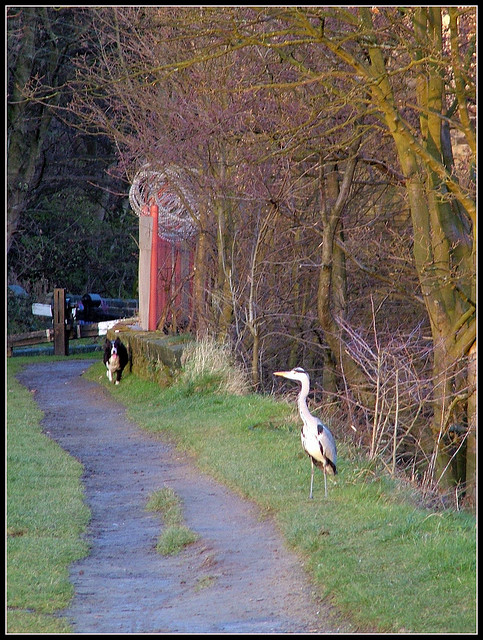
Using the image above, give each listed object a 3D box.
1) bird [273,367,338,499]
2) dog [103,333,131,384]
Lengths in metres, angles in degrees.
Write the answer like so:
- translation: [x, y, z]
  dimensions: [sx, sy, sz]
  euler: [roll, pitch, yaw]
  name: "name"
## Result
- translation: [0.694, 1.188, 13.128]
  dimensions: [0.566, 1.215, 1.536]
  euler: [-3, 9, -5]
  name: "bird"
- translation: [-2.213, 0.747, 21.463]
  dimensions: [0.290, 0.795, 1.076]
  euler: [-2, -1, -3]
  name: "dog"
